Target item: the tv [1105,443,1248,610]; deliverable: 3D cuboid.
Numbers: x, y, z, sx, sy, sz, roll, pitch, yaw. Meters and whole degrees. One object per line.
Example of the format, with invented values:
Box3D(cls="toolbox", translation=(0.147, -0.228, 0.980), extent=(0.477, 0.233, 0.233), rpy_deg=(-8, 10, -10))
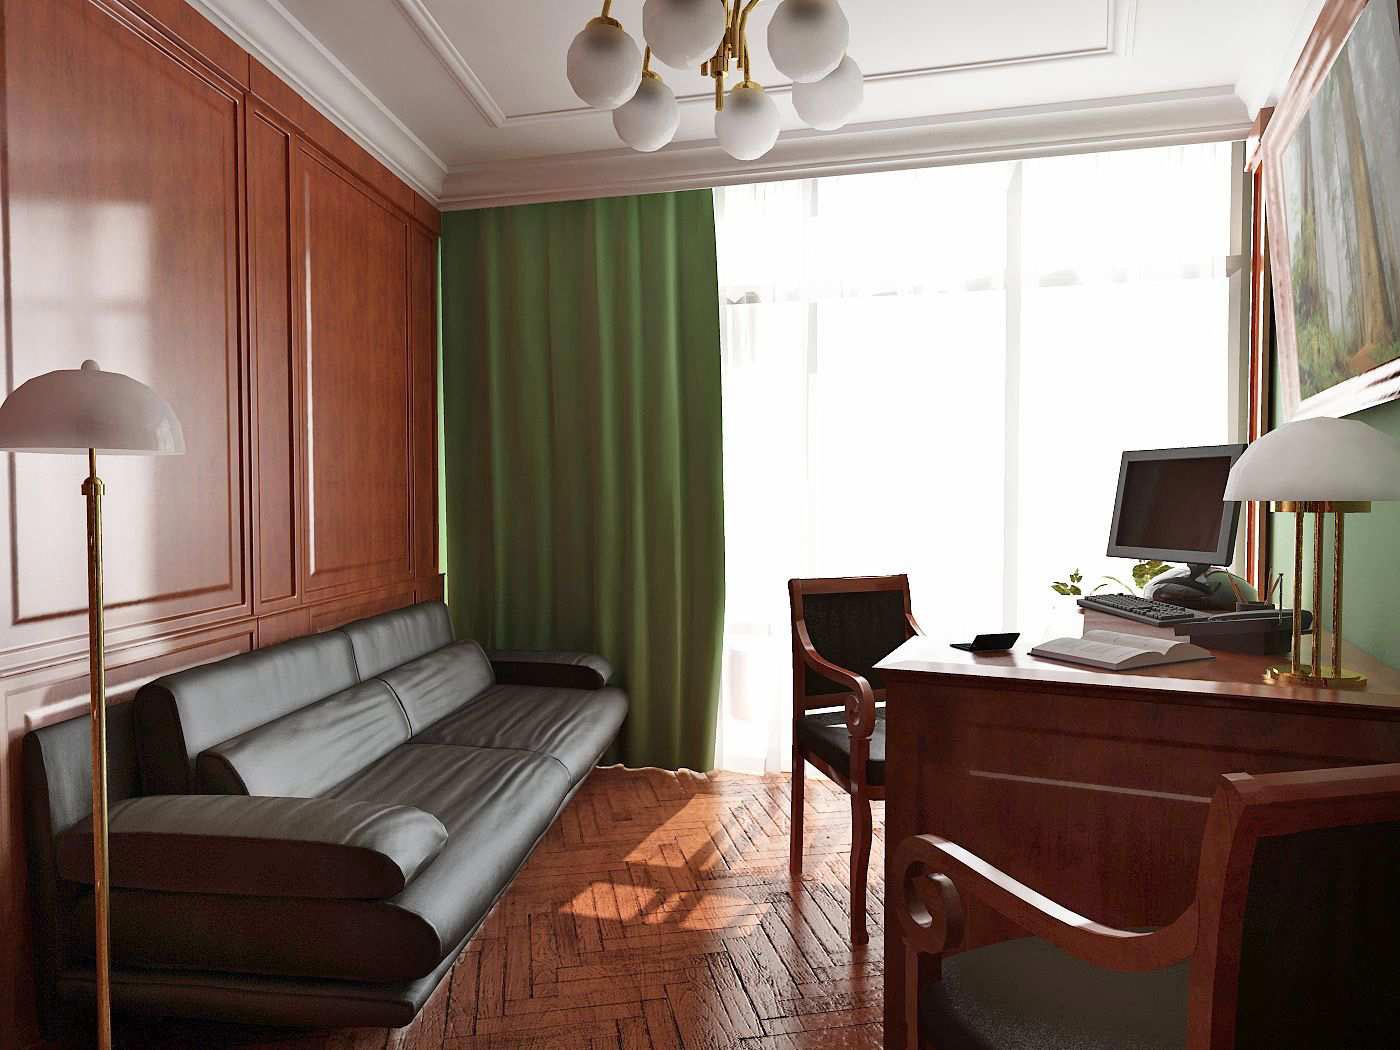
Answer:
Box3D(cls="tv", translation=(1.676, 0.005, 3.610), extent=(0.323, 0.658, 0.543), rpy_deg=(6, -8, -26))
